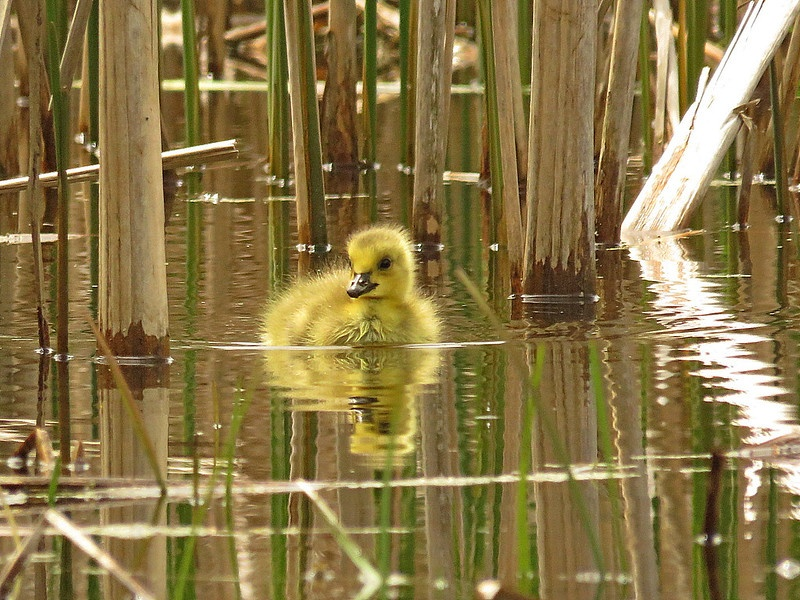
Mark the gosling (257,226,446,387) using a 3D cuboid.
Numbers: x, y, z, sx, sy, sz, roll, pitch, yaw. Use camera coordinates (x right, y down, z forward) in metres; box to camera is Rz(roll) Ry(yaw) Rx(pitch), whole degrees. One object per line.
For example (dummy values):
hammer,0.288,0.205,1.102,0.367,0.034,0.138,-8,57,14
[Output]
gosling,-0.179,0.043,4.622,0.470,0.680,0.476,2,78,-10
